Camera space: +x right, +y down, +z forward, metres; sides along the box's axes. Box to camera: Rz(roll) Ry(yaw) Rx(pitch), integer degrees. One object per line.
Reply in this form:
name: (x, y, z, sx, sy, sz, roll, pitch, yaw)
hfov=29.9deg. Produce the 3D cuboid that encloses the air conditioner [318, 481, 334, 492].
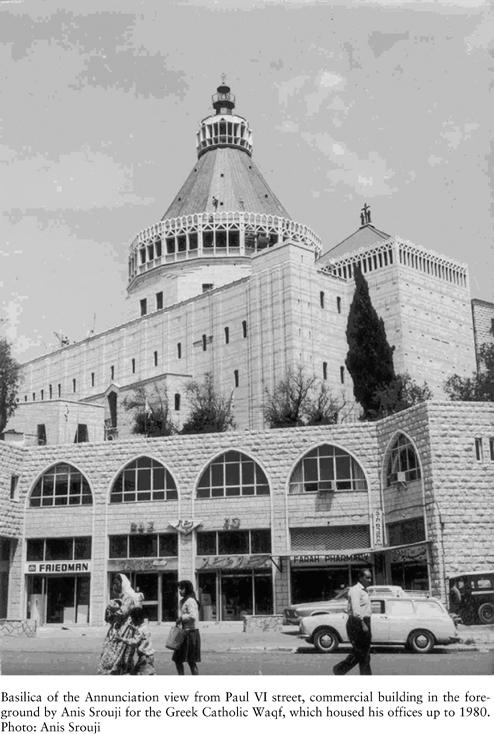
air conditioner: (3.491, 5.340, 41.201, 0.739, 0.439, 0.525, -1, -19, 13)

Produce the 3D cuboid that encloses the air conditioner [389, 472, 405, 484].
air conditioner: (6.326, 4.720, 38.910, 0.316, 0.482, 0.998, 2, -15, -15)

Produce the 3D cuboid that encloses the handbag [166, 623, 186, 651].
handbag: (-1.172, 4.391, 14.909, 0.334, 0.405, 0.306, -7, -15, 21)

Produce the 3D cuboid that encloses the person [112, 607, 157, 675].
person: (-1.771, 4.374, 14.629, 0.565, 1.036, 2.365, 0, -14, -7)

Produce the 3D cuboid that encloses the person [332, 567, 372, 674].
person: (1.705, 4.161, 14.930, 0.585, 1.670, 1.183, -3, -14, 5)
